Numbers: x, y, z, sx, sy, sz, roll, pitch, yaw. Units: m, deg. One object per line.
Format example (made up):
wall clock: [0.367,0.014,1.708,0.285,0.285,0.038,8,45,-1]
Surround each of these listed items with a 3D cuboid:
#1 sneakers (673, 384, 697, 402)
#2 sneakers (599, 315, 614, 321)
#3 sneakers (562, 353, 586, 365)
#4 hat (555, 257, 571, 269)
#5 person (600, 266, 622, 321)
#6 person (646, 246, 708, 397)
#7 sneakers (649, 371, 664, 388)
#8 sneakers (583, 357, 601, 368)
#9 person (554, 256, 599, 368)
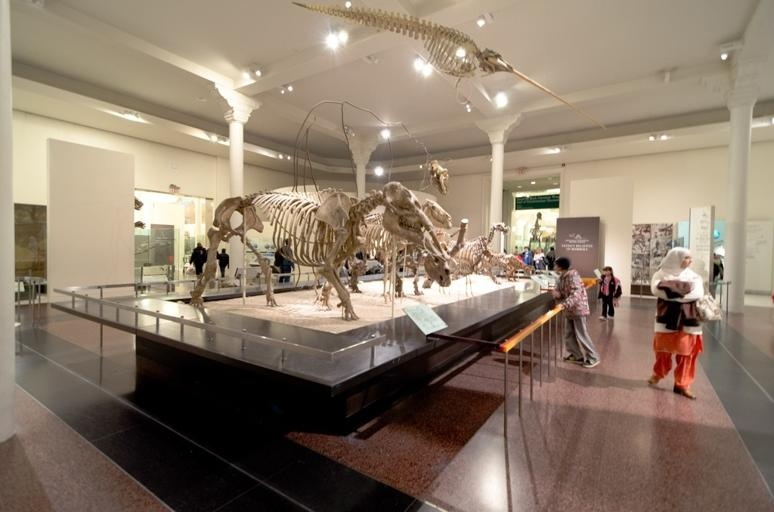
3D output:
sneakers: [4.104,1.887,6.171,0.114,0.139,0.319,-3,-2,-19]
sneakers: [4.939,1.396,10.024,0.122,0.170,0.386,-4,-7,40]
sneakers: [3.028,1.677,7.208,0.295,0.131,0.120,-5,-4,41]
hat: [2.825,0.105,7.153,0.167,0.216,0.202,2,4,-23]
person: [5.128,0.822,10.275,0.357,1.183,1.083,2,5,30]
person: [4.020,0.921,6.185,0.622,2.068,0.311,1,4,21]
sneakers: [3.849,1.795,6.430,0.210,0.219,0.131,25,-2,37]
sneakers: [3.246,1.722,7.098,0.277,0.118,0.108,11,-11,-39]
person: [3.030,0.887,7.132,0.692,1.730,0.686,1,4,26]
